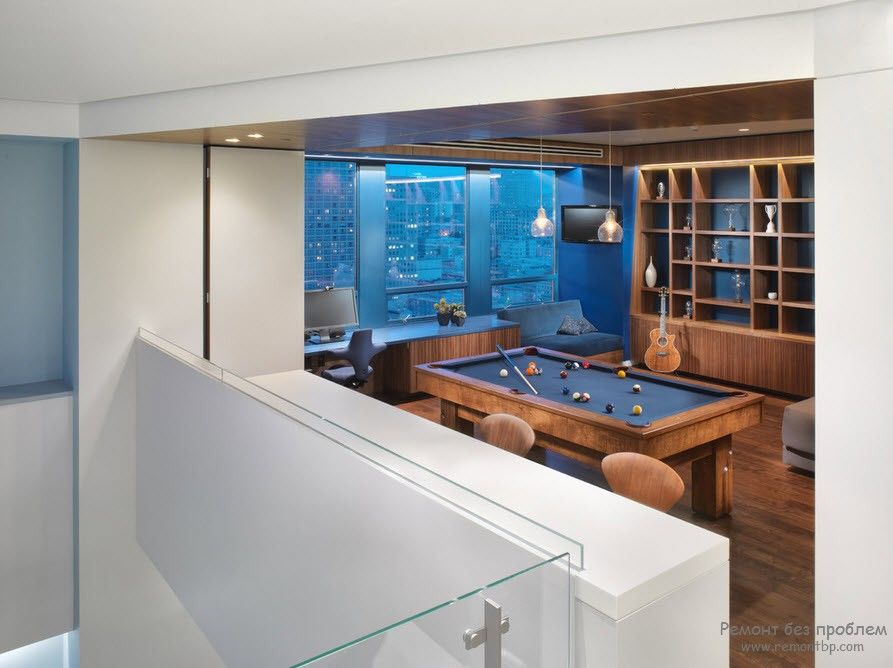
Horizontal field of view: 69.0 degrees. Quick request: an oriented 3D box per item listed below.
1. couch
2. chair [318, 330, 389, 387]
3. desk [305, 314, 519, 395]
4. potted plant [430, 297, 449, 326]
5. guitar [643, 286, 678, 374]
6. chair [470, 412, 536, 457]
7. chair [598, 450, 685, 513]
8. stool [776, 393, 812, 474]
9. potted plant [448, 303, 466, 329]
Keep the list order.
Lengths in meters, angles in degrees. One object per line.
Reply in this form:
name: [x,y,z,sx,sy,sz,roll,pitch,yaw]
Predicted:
couch: [1.582,0.039,9.445,1.794,0.829,0.920,-9,15,-39]
chair: [-1.113,0.261,7.205,0.671,0.829,0.648,-5,10,-42]
desk: [-0.590,0.122,8.975,2.853,0.816,1.245,-4,15,-39]
potted plant: [-0.080,-0.289,8.780,0.285,0.414,0.285,-7,11,-38]
guitar: [2.874,0.070,8.528,0.433,1.315,0.483,1,9,-9]
chair: [0.399,0.665,4.446,0.241,0.171,0.471,6,7,-22]
chair: [1.166,0.875,3.909,0.458,0.262,0.164,14,8,39]
stool: [3.149,0.929,5.805,0.364,0.635,0.296,3,7,-41]
potted plant: [0.177,-0.237,8.706,0.244,0.298,0.261,-3,2,7]
